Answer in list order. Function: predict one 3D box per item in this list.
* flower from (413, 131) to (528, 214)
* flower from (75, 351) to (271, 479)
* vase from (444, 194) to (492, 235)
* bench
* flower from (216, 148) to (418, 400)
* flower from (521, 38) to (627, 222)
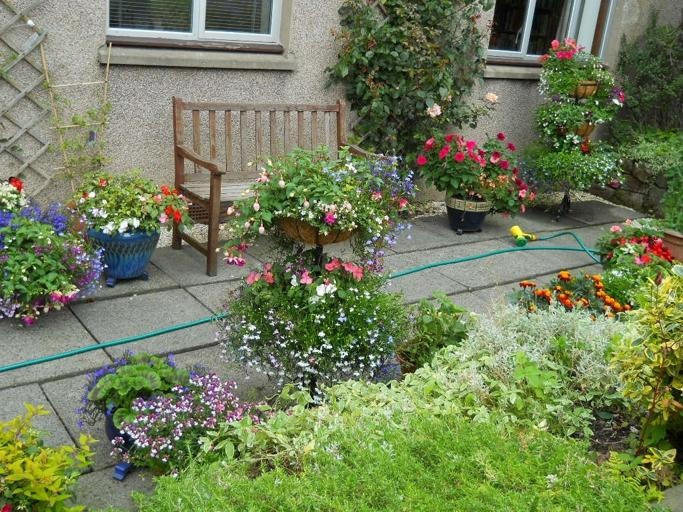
[{"bbox_3d":[1.409,-0.877,6.258,0.983,0.647,0.946,16,27,-1],"label":"flower"},{"bbox_3d":[-0.863,0.735,2.681,0.626,0.313,0.628,27,31,19],"label":"flower"},{"bbox_3d":[1.334,-0.447,6.044,0.414,0.330,0.423,1,12,-12],"label":"vase"},{"bbox_3d":[-0.579,-0.682,5.400,0.716,1.317,1.952,25,27,38],"label":"bench"},{"bbox_3d":[-0.127,0.107,3.170,1.022,1.362,0.641,1,17,-11],"label":"flower"},{"bbox_3d":[2.873,-1.539,6.924,1.147,2.027,1.480,12,18,24],"label":"flower"}]
